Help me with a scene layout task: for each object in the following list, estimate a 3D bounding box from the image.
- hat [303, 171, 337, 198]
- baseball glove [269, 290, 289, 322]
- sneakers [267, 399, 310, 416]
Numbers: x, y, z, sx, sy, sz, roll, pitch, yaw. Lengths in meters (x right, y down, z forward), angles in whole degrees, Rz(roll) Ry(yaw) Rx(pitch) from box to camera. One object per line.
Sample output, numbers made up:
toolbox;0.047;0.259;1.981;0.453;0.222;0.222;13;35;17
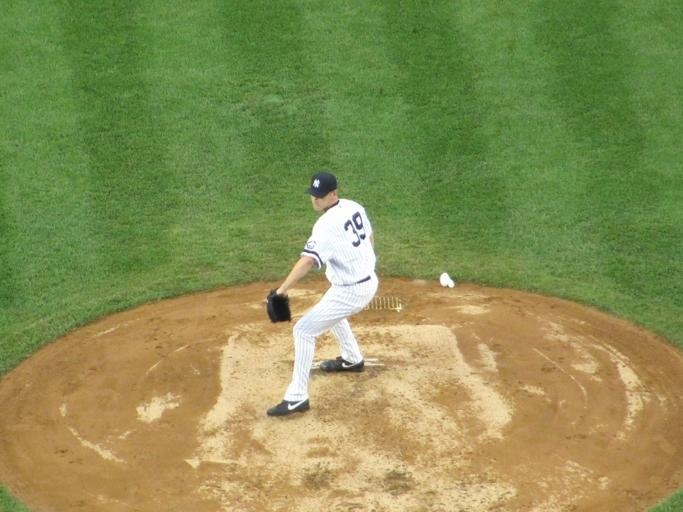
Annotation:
hat;-0.288;-0.960;13.625;0.294;0.254;0.408;36;48;25
baseball glove;-0.905;0.726;13.751;0.320;0.459;0.379;0;54;-8
sneakers;-0.772;2.212;14.003;0.613;0.279;0.235;-2;17;-13
